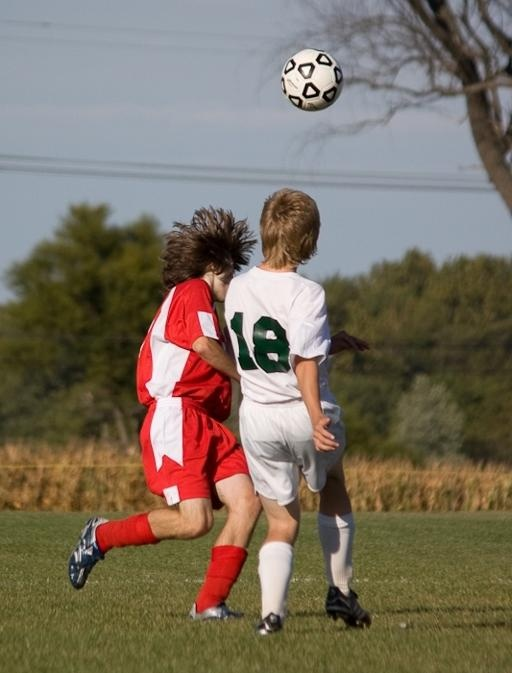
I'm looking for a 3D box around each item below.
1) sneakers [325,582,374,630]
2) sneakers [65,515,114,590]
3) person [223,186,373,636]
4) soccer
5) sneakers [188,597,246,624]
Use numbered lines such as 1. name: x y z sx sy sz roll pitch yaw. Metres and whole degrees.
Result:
1. sneakers: 0.366 1.060 5.510 0.081 0.131 0.243 -10 -28 41
2. sneakers: -0.723 0.928 6.038 0.147 0.378 0.118 19 5 -3
3. person: 0.151 0.268 5.343 0.552 1.695 0.562 1 -2 -2
4. soccer: 0.343 -1.704 9.073 0.360 0.411 0.429 6 -36 12
5. sneakers: -0.154 1.085 5.493 0.213 0.111 0.080 -5 4 2
